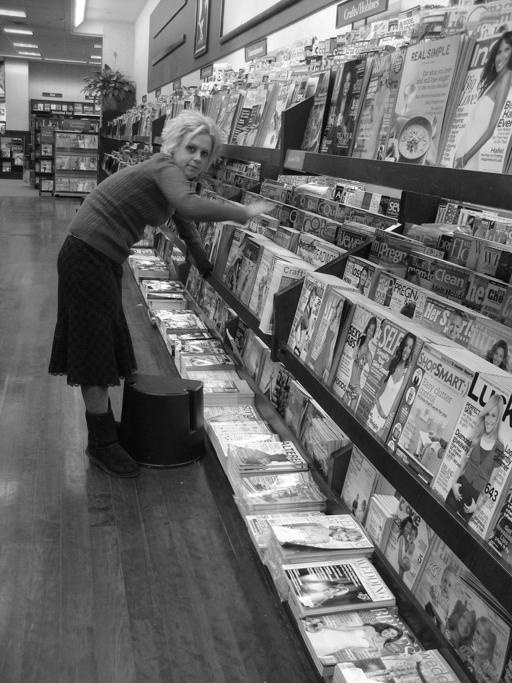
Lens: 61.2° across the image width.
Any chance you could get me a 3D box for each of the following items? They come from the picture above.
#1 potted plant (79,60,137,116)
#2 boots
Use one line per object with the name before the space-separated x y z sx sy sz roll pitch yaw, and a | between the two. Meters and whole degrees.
potted plant | -4.315 -7.220 12.474 0.994 0.978 1.075 4 25 19
boots | -0.663 0.411 2.117 0.392 0.354 0.168 26 32 32
